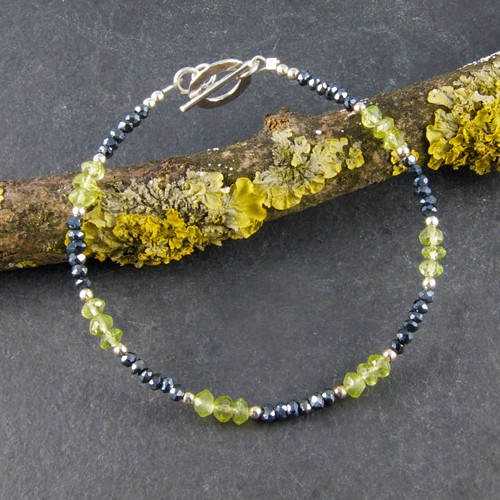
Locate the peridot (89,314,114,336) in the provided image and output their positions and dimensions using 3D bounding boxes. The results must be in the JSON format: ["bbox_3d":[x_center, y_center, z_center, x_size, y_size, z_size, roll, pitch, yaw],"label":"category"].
[{"bbox_3d":[-0.598,0.308,3.518,0.085,0.200,0.087,-1,85,0],"label":"peridot"}]

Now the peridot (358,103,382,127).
[{"bbox_3d":[0.473,-0.530,3.381,0.089,0.046,0.079,-5,86,9],"label":"peridot"}]

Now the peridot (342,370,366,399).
[{"bbox_3d":[0.419,0.540,3.456,0.081,0.033,0.096,11,85,1],"label":"peridot"}]

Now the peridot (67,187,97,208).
[{"bbox_3d":[-0.635,-0.204,3.324,0.113,0.056,0.074,-9,85,-1],"label":"peridot"}]

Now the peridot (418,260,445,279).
[{"bbox_3d":[0.750,0.081,3.540,0.123,0.034,0.072,2,87,8],"label":"peridot"}]

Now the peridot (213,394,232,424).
[{"bbox_3d":[-0.107,0.636,3.429,0.097,0.052,0.086,-4,78,-5],"label":"peridot"}]

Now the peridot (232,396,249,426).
[{"bbox_3d":[-0.038,0.647,3.430,0.059,0.085,0.084,3,38,25],"label":"peridot"}]

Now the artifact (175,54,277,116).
[{"bbox_3d":[-0.073,-0.719,3.589,0.455,0.186,0.065,-34,47,-8],"label":"artifact"}]

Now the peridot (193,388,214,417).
[{"bbox_3d":[-0.183,0.616,3.443,0.080,0.040,0.096,-20,85,-2],"label":"peridot"}]

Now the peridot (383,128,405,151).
[{"bbox_3d":[0.576,-0.438,3.378,0.087,0.042,0.077,2,95,-4],"label":"peridot"}]
